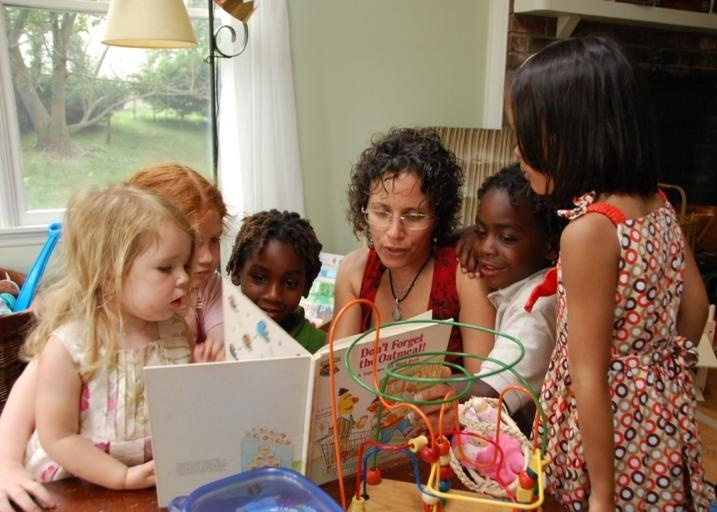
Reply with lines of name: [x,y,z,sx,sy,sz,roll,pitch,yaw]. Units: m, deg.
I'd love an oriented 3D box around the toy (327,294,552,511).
toy: [0.101,0.256,0.956,0.353,0.405,0.392,-4,7,4]
